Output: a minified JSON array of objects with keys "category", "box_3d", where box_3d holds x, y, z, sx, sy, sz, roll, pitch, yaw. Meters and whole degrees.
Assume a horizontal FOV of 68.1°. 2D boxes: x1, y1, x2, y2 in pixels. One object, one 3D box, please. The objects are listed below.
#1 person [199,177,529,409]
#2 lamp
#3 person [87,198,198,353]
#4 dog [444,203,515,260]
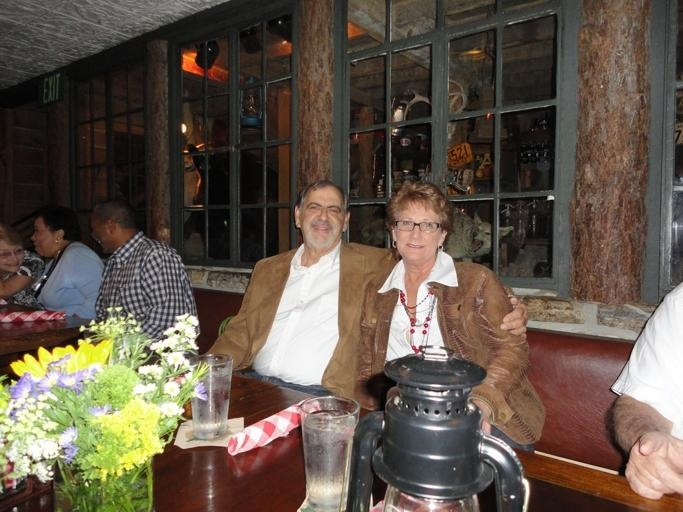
[{"category":"person","box_3d":[-0.012,0.262,2.985,1.734,1.176,0.909,-2,-8,11]},{"category":"lamp","box_3d":[-0.703,-1.610,3.818,0.767,0.491,0.189,-2,18,29]},{"category":"person","box_3d":[-1.361,0.098,3.376,0.805,0.921,0.637,12,15,31]},{"category":"dog","box_3d":[0.876,-0.100,3.385,0.197,0.389,0.531,-5,7,-30]}]
